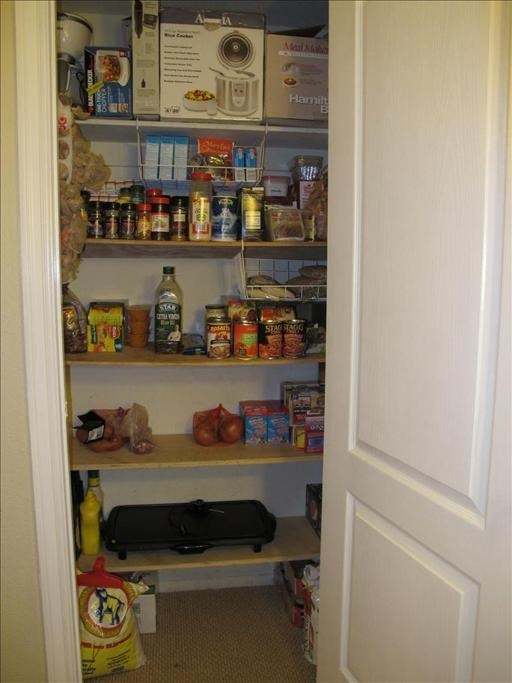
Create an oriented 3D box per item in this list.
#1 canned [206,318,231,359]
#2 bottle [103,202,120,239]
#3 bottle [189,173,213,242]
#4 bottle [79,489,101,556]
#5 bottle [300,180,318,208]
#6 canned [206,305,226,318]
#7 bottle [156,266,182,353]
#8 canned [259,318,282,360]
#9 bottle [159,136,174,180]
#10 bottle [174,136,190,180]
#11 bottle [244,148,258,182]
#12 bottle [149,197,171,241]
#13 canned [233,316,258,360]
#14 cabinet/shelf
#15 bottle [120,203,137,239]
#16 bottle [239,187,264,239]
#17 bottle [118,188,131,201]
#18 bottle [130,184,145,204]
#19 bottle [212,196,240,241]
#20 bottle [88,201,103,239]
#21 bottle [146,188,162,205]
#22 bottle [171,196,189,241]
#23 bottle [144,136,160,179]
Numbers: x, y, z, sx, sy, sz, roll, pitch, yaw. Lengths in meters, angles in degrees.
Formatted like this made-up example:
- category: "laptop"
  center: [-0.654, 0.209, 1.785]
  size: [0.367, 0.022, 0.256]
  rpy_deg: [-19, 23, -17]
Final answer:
- category: "canned"
  center: [-0.126, -0.009, 1.916]
  size: [0.114, 0.183, 0.112]
  rpy_deg: [0, 1, -5]
- category: "bottle"
  center: [-0.475, -0.398, 1.858]
  size: [0.052, 0.113, 0.029]
  rpy_deg: [-2, 7, -16]
- category: "bottle"
  center: [-0.181, -0.435, 1.846]
  size: [0.077, 0.217, 0.066]
  rpy_deg: [-1, 7, -10]
- category: "bottle"
  center: [-0.591, 0.649, 2.065]
  size: [0.067, 0.226, 0.117]
  rpy_deg: [2, 7, 17]
- category: "bottle"
  center: [0.174, -0.506, 1.941]
  size: [0.048, 0.094, 0.072]
  rpy_deg: [-1, 7, -6]
- category: "canned"
  center: [-0.144, -0.110, 1.962]
  size: [0.053, 0.058, 0.054]
  rpy_deg: [0, 5, -5]
- category: "bottle"
  center: [-0.305, -0.095, 1.965]
  size: [0.083, 0.266, 0.071]
  rpy_deg: [0, 7, 0]
- category: "canned"
  center: [0.048, -0.012, 2.025]
  size: [0.108, 0.185, 0.120]
  rpy_deg: [1, 8, 1]
- category: "bottle"
  center: [-0.292, -0.619, 1.911]
  size: [0.046, 0.133, 0.136]
  rpy_deg: [-5, 18, -21]
- category: "bottle"
  center: [-0.252, -0.608, 1.884]
  size: [0.047, 0.147, 0.049]
  rpy_deg: [0, 7, 0]
- category: "bottle"
  center: [-0.021, -0.596, 1.922]
  size: [0.041, 0.115, 0.039]
  rpy_deg: [0, 7, 0]
- category: "bottle"
  center: [-0.313, -0.406, 1.856]
  size: [0.067, 0.144, 0.054]
  rpy_deg: [-3, 7, -21]
- category: "canned"
  center: [-0.038, -0.007, 1.932]
  size: [0.075, 0.135, 0.042]
  rpy_deg: [-1, 7, -6]
- category: "cabinet/shelf"
  center: [-0.205, -0.144, 2.050]
  size: [1.013, 2.245, 0.576]
  rpy_deg: [-1, 7, -4]
- category: "bottle"
  center: [-0.424, -0.397, 1.867]
  size: [0.053, 0.109, 0.032]
  rpy_deg: [-2, 7, -15]
- category: "bottle"
  center: [-0.015, -0.421, 1.885]
  size: [0.075, 0.174, 0.086]
  rpy_deg: [-1, 7, -3]
- category: "bottle"
  center: [-0.453, -0.501, 1.938]
  size: [0.044, 0.043, 0.044]
  rpy_deg: [1, 0, 36]
- category: "bottle"
  center: [-0.414, -0.506, 1.959]
  size: [0.064, 0.070, 0.065]
  rpy_deg: [1, 1, -19]
- category: "bottle"
  center: [-0.103, -0.416, 1.901]
  size: [0.109, 0.170, 0.103]
  rpy_deg: [2, 6, 0]
- category: "bottle"
  center: [-0.524, -0.398, 1.844]
  size: [0.051, 0.119, 0.048]
  rpy_deg: [0, 7, 0]
- category: "bottle"
  center: [-0.340, -0.478, 1.853]
  size: [0.052, 0.040, 0.053]
  rpy_deg: [-1, 7, 0]
- category: "bottle"
  center: [-0.250, -0.403, 1.861]
  size: [0.062, 0.147, 0.073]
  rpy_deg: [-2, 7, -17]
- category: "bottle"
  center: [-0.345, -0.606, 1.866]
  size: [0.053, 0.143, 0.056]
  rpy_deg: [0, 7, 0]
